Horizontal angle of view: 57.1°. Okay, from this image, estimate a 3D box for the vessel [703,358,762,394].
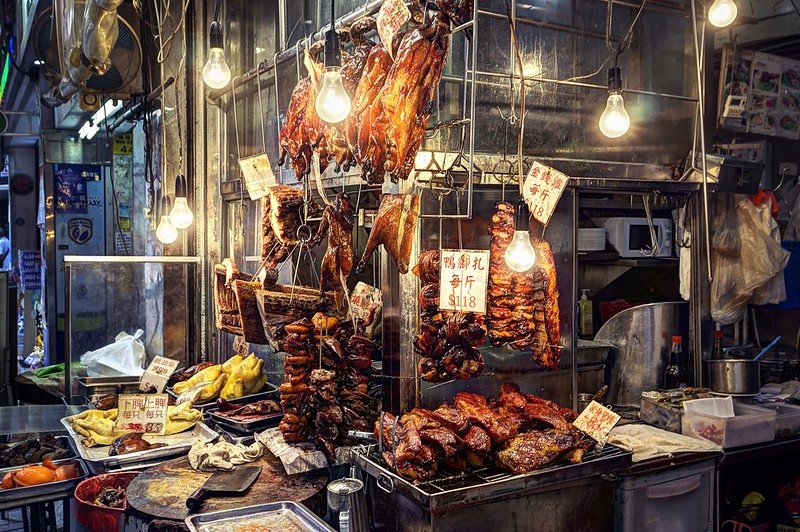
[{"bbox_3d":[3.027,0.948,6.667,0.324,0.255,0.320,3,-5,-39],"label":"vessel"}]

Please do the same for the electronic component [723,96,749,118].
[{"bbox_3d":[3.700,-1.758,8.128,0.247,0.268,0.062,0,3,-20],"label":"electronic component"}]

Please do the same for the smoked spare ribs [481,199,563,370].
[{"bbox_3d":[0.949,0.234,5.846,0.466,1.482,0.509,-2,0,-17],"label":"smoked spare ribs"}]

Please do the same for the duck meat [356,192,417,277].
[{"bbox_3d":[-0.081,-0.257,5.475,0.458,0.592,0.198,-1,-3,-5],"label":"duck meat"}]

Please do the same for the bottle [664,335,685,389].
[{"bbox_3d":[2.574,0.912,6.863,0.205,0.431,0.089,-1,-3,-3],"label":"bottle"}]

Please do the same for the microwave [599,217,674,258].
[{"bbox_3d":[2.476,-0.259,7.638,0.682,0.414,0.630,-8,-17,33],"label":"microwave"}]

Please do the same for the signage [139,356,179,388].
[{"bbox_3d":[-2.354,1.053,7.231,0.219,0.330,0.302,23,-1,-11],"label":"signage"}]

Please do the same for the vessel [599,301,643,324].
[{"bbox_3d":[2.406,0.496,8.088,0.325,0.261,0.521,0,-3,-20],"label":"vessel"}]

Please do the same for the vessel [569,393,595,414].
[{"bbox_3d":[1.650,1.206,6.594,0.186,0.182,0.227,2,-9,-4],"label":"vessel"}]

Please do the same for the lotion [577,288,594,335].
[{"bbox_3d":[2.010,0.494,7.925,0.125,0.500,0.364,-2,-3,19],"label":"lotion"}]

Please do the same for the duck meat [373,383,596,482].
[{"bbox_3d":[0.598,1.242,5.453,0.978,0.281,0.772,0,16,-19],"label":"duck meat"}]

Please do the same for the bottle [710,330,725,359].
[{"bbox_3d":[3.054,0.737,7.062,0.094,0.254,0.573,-2,-3,25],"label":"bottle"}]

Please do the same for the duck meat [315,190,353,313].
[{"bbox_3d":[-0.492,-0.122,5.776,0.260,0.893,0.299,-1,-3,-6],"label":"duck meat"}]
